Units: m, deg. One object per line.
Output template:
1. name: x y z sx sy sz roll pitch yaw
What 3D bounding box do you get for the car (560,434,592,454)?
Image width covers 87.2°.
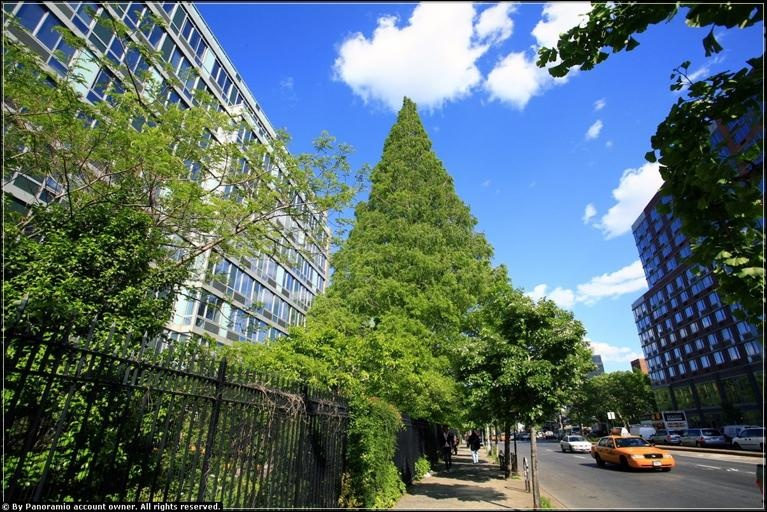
1. car: 16.912 16.512 35.435 1.981 1.485 2.887 -3 -27 6

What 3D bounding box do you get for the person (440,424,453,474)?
1. person: 3.320 10.058 21.112 0.868 2.139 0.677 -4 -14 4

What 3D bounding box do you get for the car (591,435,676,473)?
1. car: 12.252 9.735 20.019 1.693 1.584 4.147 -1 -26 1

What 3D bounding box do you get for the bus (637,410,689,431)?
1. bus: 33.308 19.459 47.388 2.887 2.193 9.401 -11 -28 20
